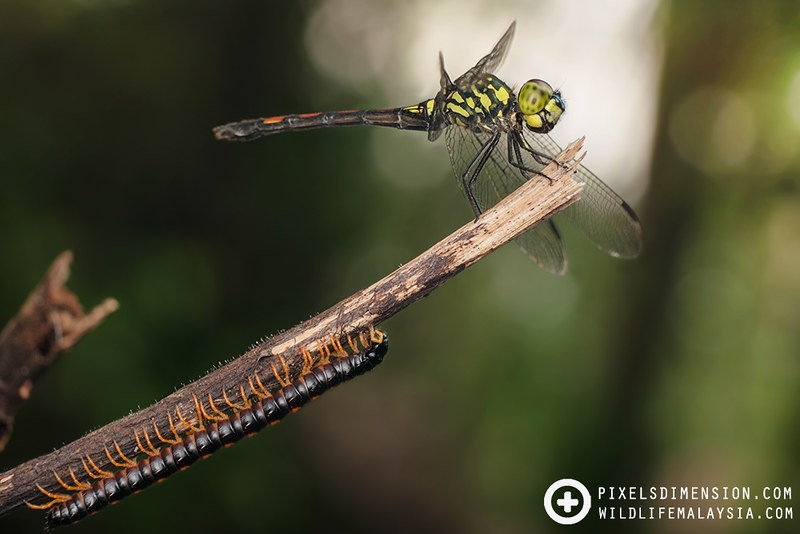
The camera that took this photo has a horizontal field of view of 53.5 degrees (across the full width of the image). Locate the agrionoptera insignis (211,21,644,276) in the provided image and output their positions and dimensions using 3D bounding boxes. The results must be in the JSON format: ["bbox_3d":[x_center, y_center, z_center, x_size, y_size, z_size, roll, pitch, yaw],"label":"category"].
[{"bbox_3d":[0.448,-1.006,6.150,2.604,0.863,3.176,3,-9,-45],"label":"agrionoptera insignis"}]
